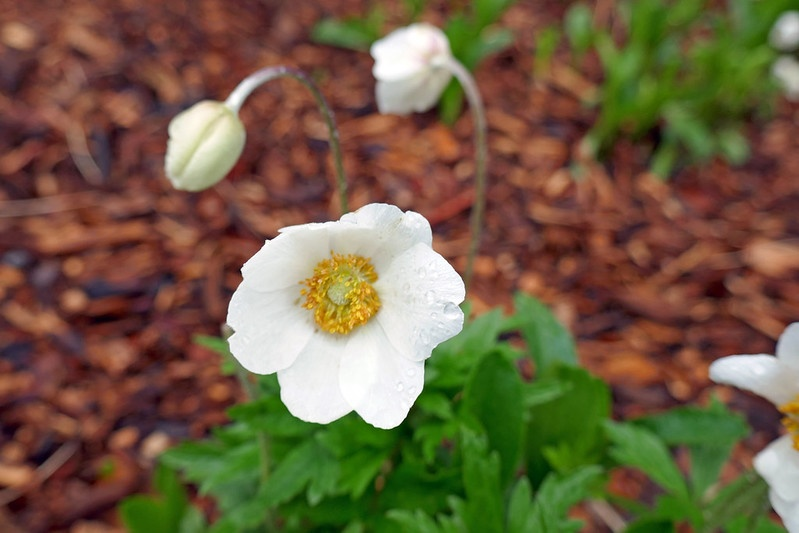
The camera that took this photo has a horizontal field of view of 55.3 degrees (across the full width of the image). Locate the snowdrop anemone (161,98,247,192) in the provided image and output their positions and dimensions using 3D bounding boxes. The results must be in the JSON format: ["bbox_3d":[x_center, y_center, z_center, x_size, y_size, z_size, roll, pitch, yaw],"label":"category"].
[{"bbox_3d":[-0.956,-0.599,3.721,0.428,0.159,0.333,-32,86,-7],"label":"snowdrop anemone"}]
